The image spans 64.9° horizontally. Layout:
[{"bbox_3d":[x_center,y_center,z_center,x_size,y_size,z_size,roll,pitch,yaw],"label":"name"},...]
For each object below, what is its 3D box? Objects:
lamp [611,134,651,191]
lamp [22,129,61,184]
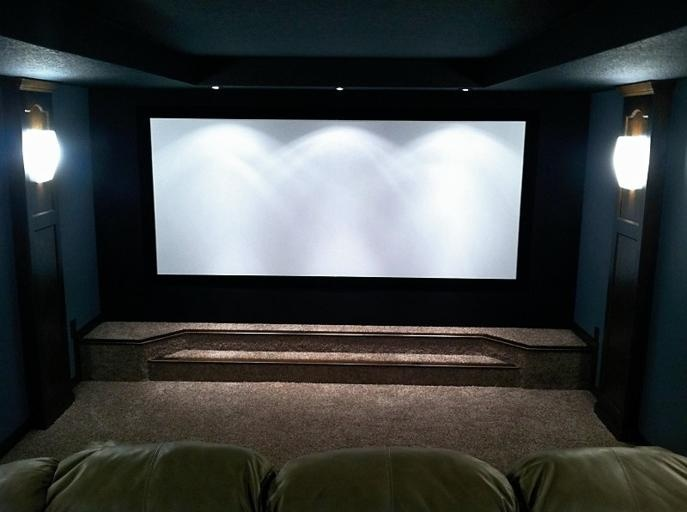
[{"bbox_3d":[1.738,-0.564,3.273,0.139,0.332,0.247,3,6,9],"label":"lamp"},{"bbox_3d":[-1.863,-0.616,3.338,0.122,0.339,0.269,1,6,-7],"label":"lamp"}]
